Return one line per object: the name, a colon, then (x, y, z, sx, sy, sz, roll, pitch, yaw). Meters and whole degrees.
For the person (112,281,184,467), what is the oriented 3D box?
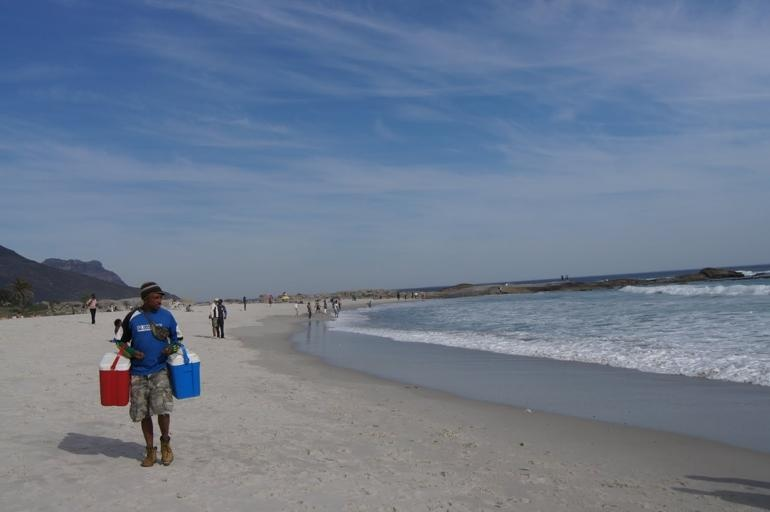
person: (-4.009, 2.031, 9.473, 0.951, 3.151, 0.422, 0, -1, -17)

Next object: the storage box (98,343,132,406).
storage box: (-4.690, 2.200, 9.624, 0.578, 0.704, 0.851, 3, -17, -26)
